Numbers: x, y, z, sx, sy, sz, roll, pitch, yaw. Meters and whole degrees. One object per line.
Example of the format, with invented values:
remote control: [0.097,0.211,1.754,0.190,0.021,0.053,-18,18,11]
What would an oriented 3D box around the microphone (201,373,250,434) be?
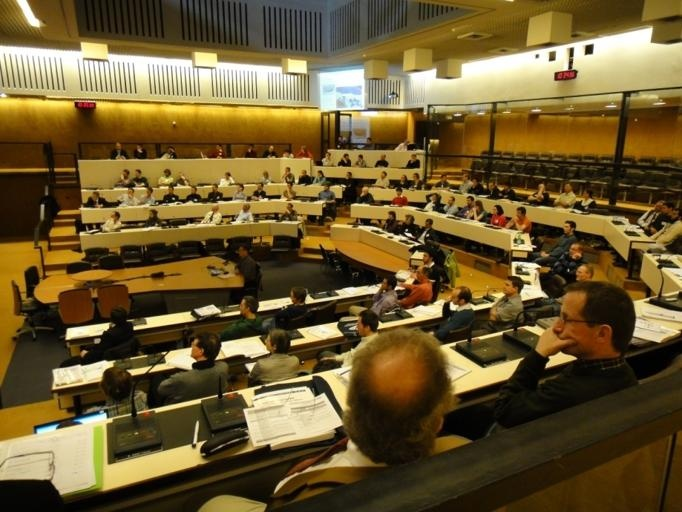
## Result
microphone: [-0.750,0.990,3.095,0.221,0.149,0.273,-5,23,-21]
